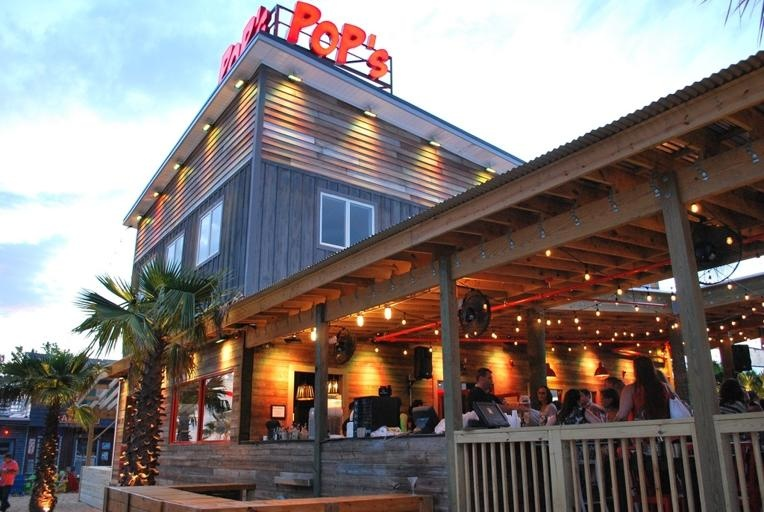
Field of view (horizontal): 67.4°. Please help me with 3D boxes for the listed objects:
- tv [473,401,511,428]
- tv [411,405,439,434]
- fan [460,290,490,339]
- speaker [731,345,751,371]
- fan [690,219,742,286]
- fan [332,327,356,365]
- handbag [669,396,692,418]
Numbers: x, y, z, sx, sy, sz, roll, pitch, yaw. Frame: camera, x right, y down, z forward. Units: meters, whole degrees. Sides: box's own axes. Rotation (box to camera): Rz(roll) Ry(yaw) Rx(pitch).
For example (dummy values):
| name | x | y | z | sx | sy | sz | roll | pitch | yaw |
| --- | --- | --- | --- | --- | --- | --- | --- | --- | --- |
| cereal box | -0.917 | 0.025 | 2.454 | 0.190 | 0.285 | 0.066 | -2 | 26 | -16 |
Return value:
| name | x | y | z | sx | sy | sz | roll | pitch | yaw |
| --- | --- | --- | --- | --- | --- | --- | --- | --- | --- |
| tv | 1.539 | 2.174 | 7.815 | 0.548 | 0.371 | 0.334 | 18 | -30 | -40 |
| tv | 0.679 | 2.568 | 8.971 | 0.383 | 0.467 | 0.689 | -2 | -23 | 2 |
| fan | 1.480 | 0.850 | 9.209 | 0.405 | 0.837 | 0.598 | -2 | -23 | 1 |
| speaker | 9.804 | 2.811 | 15.824 | 0.767 | 0.689 | 0.199 | 2 | -1 | -12 |
| fan | 4.905 | -0.086 | 8.340 | 0.625 | 0.824 | 0.873 | -14 | -26 | 27 |
| fan | -0.637 | 1.759 | 11.518 | 0.535 | 0.744 | 0.276 | -37 | -41 | 28 |
| handbag | 3.758 | 1.908 | 7.226 | 0.205 | 0.284 | 0.477 | -21 | -29 | 38 |
